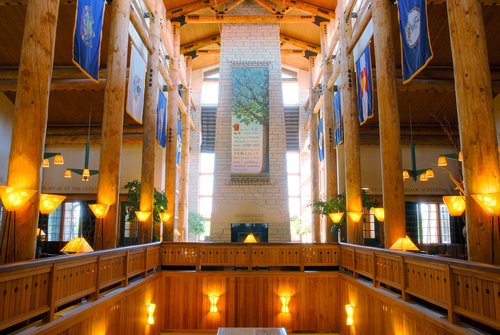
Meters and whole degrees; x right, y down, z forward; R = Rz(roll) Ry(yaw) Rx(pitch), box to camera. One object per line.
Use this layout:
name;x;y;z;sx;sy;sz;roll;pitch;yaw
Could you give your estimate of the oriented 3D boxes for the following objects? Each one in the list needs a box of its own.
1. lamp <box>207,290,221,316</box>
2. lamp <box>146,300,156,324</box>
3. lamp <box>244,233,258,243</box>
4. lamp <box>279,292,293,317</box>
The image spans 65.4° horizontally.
lamp;-1.023;3.804;10.995;0.363;0.454;0.382;1;-7;1
lamp;-2.583;3.787;10.146;0.174;0.572;0.538;1;1;-6
lamp;0.035;2.428;13.516;0.625;0.303;0.671;0;-13;2
lamp;0.999;3.792;10.893;0.438;0.664;0.390;1;-8;-7
